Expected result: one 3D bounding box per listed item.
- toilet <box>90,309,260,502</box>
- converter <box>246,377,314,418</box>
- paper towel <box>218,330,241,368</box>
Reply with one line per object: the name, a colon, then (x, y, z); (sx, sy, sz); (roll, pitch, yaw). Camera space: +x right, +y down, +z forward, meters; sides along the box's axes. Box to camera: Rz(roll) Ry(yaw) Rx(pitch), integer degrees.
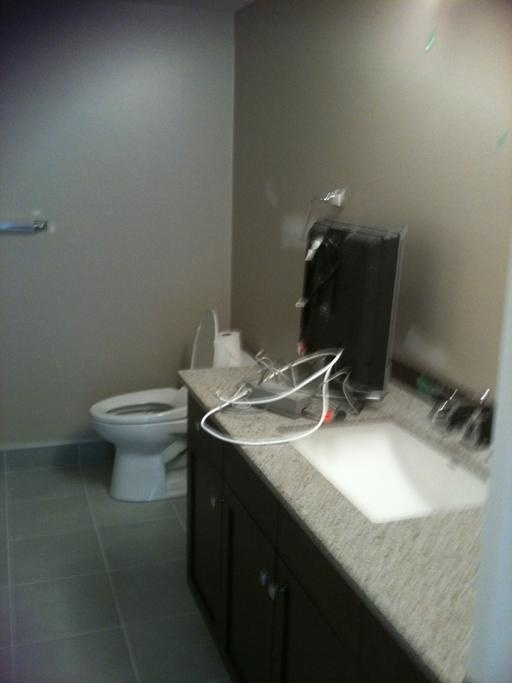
toilet: (-0.316, 0.208, 1.887); (0.550, 0.647, 0.268); (-6, 15, -29)
converter: (0.054, 0.102, 1.112); (0.096, 0.054, 0.113); (-13, 22, -38)
paper towel: (-0.060, 0.022, 1.814); (0.094, 0.108, 0.097); (-4, 24, 3)
